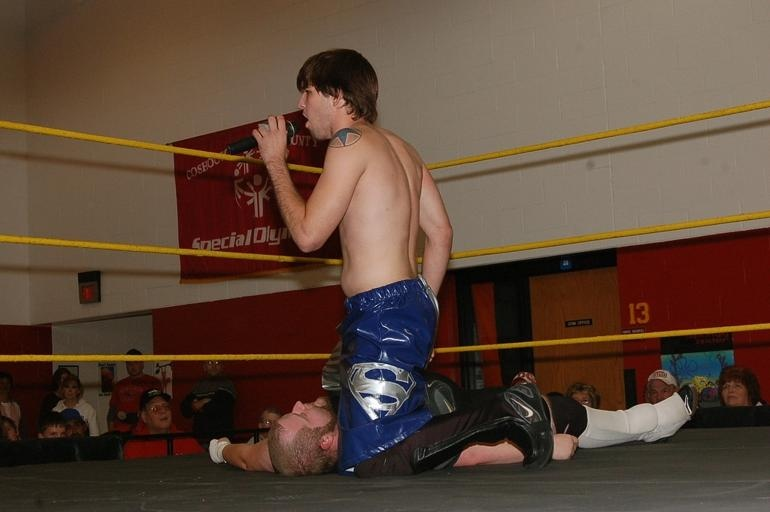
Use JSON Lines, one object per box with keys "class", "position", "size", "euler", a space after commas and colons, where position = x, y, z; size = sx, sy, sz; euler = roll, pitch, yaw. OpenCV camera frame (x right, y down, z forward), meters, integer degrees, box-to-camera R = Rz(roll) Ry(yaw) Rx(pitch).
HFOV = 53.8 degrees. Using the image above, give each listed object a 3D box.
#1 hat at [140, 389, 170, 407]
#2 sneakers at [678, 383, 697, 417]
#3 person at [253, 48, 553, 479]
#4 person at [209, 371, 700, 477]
{"class": "hat", "position": [-1.946, 1.195, 6.390], "size": [0.276, 0.106, 0.201], "euler": [-21, -14, 26]}
{"class": "sneakers", "position": [1.307, 0.610, 3.305], "size": [0.069, 0.164, 0.057], "euler": [-9, -2, -21]}
{"class": "person", "position": [0.006, -0.017, 3.164], "size": [1.144, 1.762, 0.449], "euler": [-4, -8, 6]}
{"class": "person", "position": [0.440, 0.746, 3.405], "size": [1.937, 0.317, 1.069], "euler": [0, -13, -2]}
